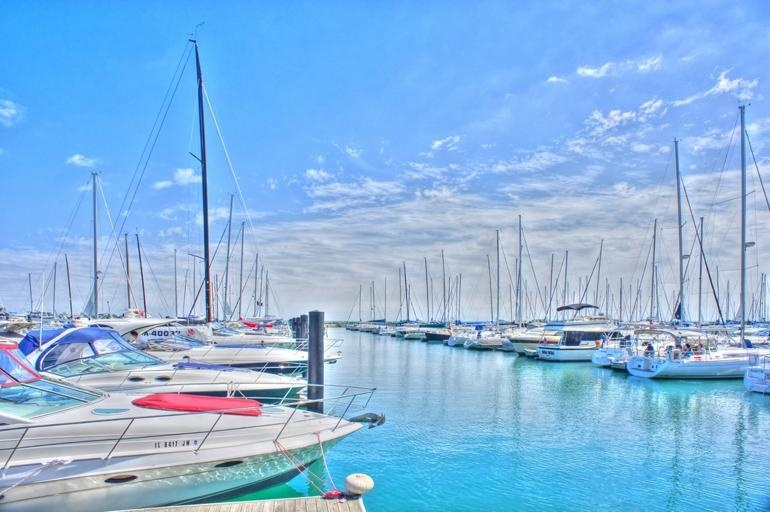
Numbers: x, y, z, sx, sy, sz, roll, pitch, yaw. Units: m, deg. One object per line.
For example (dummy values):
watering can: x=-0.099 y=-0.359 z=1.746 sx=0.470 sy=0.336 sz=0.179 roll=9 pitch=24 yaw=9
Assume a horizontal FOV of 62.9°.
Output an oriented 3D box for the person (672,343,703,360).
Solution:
person: x=15.497 y=4.883 z=31.905 sx=1.836 sy=0.663 sz=0.973 roll=-1 pitch=4 yaw=-40
